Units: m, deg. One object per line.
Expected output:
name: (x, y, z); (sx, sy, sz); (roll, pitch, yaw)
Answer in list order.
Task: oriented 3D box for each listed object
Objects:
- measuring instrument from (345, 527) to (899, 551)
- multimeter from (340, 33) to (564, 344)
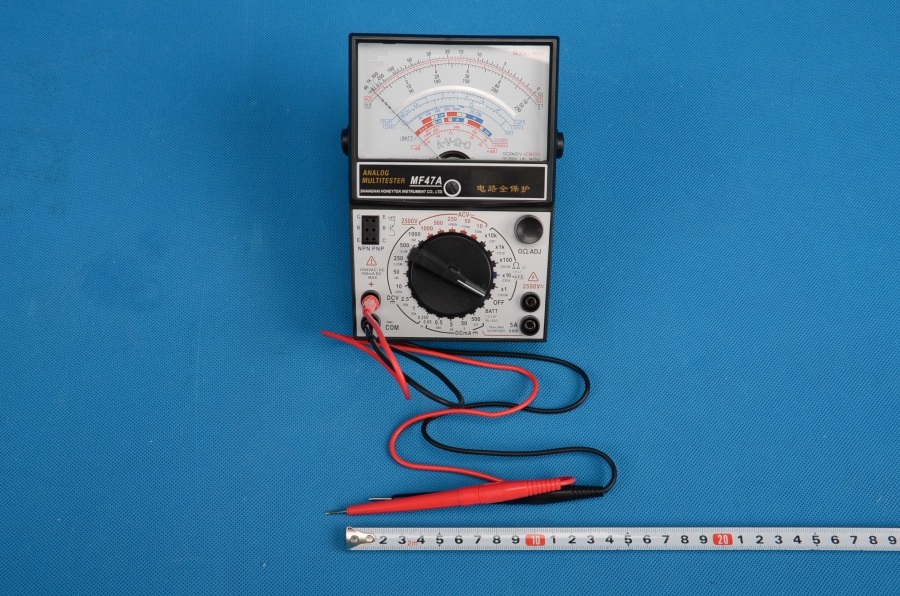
measuring instrument: (0.523, 0.723, 2.840); (1.661, 0.046, 0.067); (1, -75, -1)
multimeter: (-0.014, -0.351, 3.231); (0.954, 0.370, 1.339); (0, -88, -4)
